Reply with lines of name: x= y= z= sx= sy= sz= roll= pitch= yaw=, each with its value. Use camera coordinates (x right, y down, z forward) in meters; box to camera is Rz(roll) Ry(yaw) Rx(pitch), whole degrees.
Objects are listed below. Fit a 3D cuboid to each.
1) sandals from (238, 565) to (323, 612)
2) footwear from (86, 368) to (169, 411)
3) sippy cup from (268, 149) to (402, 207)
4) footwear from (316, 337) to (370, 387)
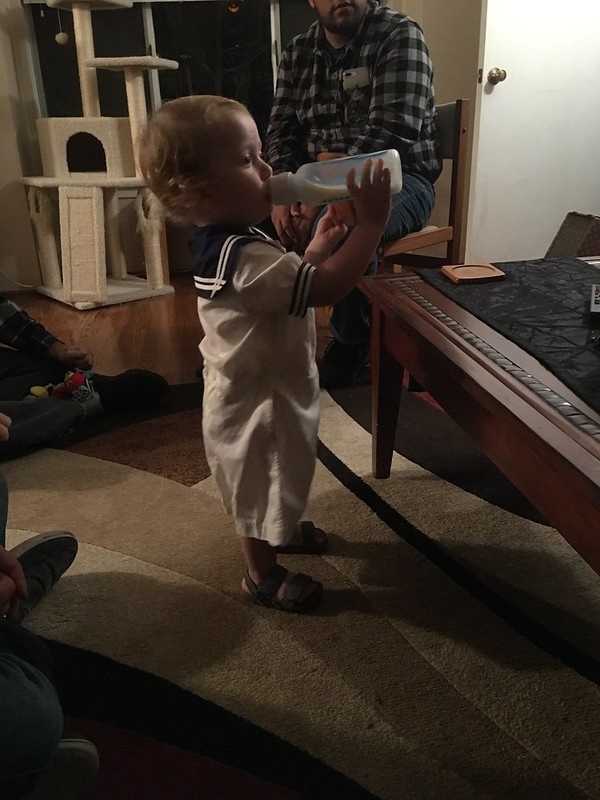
sandals: x=-0.035 y=0.294 z=1.003 sx=0.107 sy=0.040 sz=0.061 roll=5 pitch=30 yaw=25
footwear: x=-0.506 y=-0.036 z=1.800 sx=0.133 sy=0.062 sz=0.171 roll=5 pitch=6 yaw=44
sippy cup: x=0.049 y=-0.322 z=0.876 sx=0.185 sy=0.079 sz=0.065 roll=-5 pitch=-11 yaw=9
footwear: x=0.127 y=-0.112 z=1.989 sx=0.184 sy=0.164 sz=0.122 roll=-10 pitch=38 yaw=4
